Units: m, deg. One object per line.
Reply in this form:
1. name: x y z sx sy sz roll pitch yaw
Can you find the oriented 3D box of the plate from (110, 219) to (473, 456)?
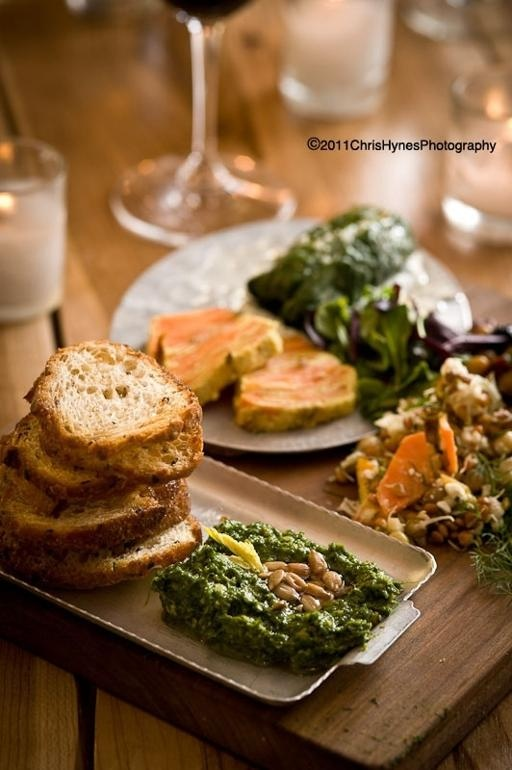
1. plate: 0.074 -0.139 1.510 0.701 0.266 0.678 -18 32 -34
